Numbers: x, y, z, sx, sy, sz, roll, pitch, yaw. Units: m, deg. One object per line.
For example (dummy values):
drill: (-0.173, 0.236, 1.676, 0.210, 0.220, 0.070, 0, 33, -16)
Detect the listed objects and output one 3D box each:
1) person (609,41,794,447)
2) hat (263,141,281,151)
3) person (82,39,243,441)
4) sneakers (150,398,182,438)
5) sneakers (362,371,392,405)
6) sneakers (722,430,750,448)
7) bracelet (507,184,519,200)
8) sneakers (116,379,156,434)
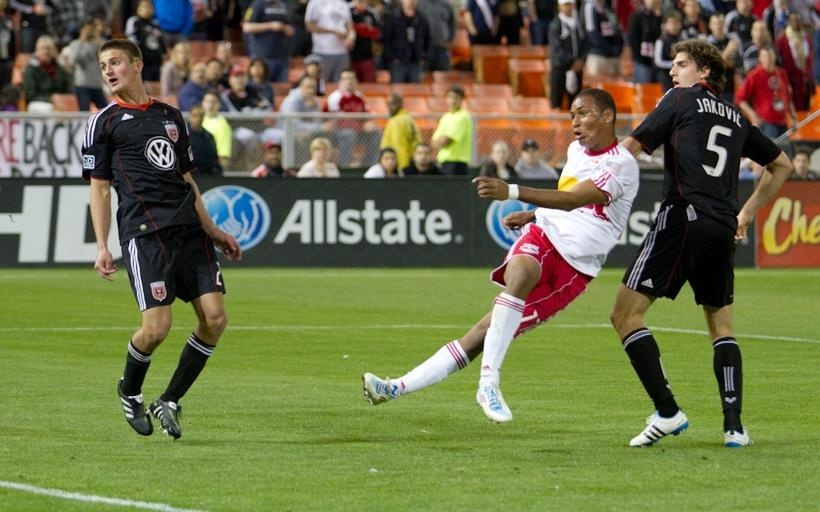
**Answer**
person: (2.492, -0.143, 10.714, 1.391, 3.446, 1.093, 2, 8, 7)
hat: (-2.223, -1.811, 20.118, 0.289, 0.151, 0.263, 0, 9, -6)
person: (-2.208, -0.149, 10.720, 1.318, 3.434, 0.915, 1, 8, 4)
sneakers: (-2.102, 1.412, 10.641, 0.356, 0.208, 0.133, 48, 28, 19)
sneakers: (-0.253, 1.169, 10.889, 0.180, 0.151, 0.400, 4, 8, 27)
sneakers: (2.833, 1.561, 10.525, 0.239, 0.144, 0.135, 1, 9, 5)
bracelet: (0.898, -0.549, 10.525, 0.099, 0.131, 0.241, 1, 9, 6)
sneakers: (-2.402, 1.392, 10.719, 0.209, 0.567, 0.248, -30, 4, -32)
